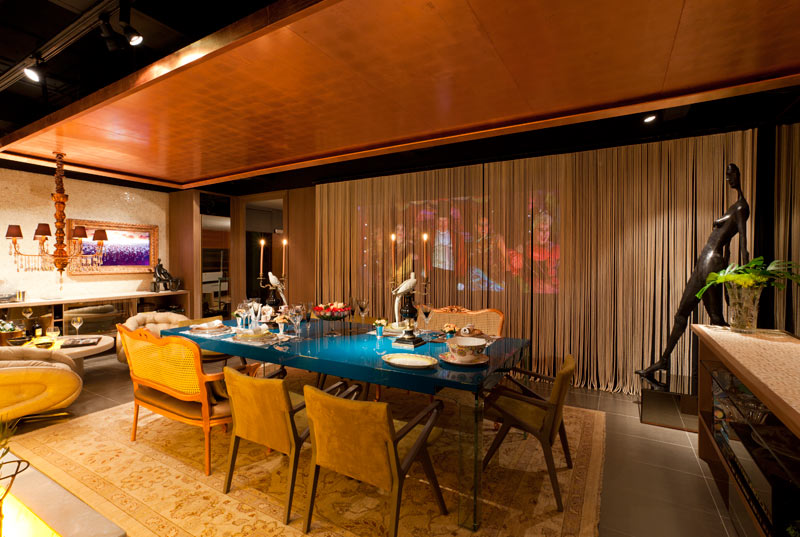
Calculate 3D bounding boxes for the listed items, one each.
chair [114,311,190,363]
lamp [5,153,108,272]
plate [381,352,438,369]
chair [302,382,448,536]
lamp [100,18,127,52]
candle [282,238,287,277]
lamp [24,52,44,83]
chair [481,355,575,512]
[{"bbox_3d":[-3.053,0.702,6.420,0.862,0.715,0.824,6,-15,-44],"label":"chair"},{"bbox_3d":[-4.869,-0.785,7.155,1.383,1.752,1.153,3,5,22],"label":"lamp"},{"bbox_3d":[0.083,0.793,4.464,0.475,0.092,0.364,-1,0,-2],"label":"plate"},{"bbox_3d":[-0.354,1.563,4.491,1.134,1.458,1.205,-2,0,27],"label":"chair"},{"bbox_3d":[-2.719,-2.200,4.858,0.217,0.277,0.166,-2,1,-30],"label":"lamp"},{"bbox_3d":[-1.931,-0.204,8.692,0.117,0.698,0.068,-1,1,10],"label":"candle"},{"bbox_3d":[-3.707,-2.022,5.181,0.141,0.257,0.251,-2,1,-31],"label":"lamp"},{"bbox_3d":[1.209,1.369,4.758,0.759,1.272,1.255,-1,0,17],"label":"chair"}]
